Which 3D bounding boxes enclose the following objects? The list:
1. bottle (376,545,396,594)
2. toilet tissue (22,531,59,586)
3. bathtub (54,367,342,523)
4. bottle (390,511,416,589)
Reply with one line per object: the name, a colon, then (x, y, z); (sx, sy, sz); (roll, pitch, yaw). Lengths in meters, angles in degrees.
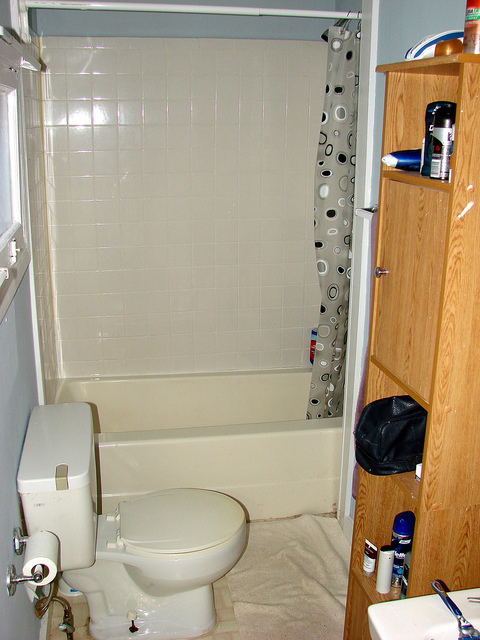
bottle: (0.362, 0.615, 1.300); (0.036, 0.135, 0.031); (4, 23, 12)
toilet tissue: (-0.435, 0.511, 1.134); (0.059, 0.069, 0.136); (-3, 4, -22)
bathtub: (-0.186, 0.515, 2.173); (0.902, 0.256, 0.801); (-1, 22, -21)
bottle: (0.402, 0.572, 1.296); (0.050, 0.198, 0.045); (0, 11, 0)
